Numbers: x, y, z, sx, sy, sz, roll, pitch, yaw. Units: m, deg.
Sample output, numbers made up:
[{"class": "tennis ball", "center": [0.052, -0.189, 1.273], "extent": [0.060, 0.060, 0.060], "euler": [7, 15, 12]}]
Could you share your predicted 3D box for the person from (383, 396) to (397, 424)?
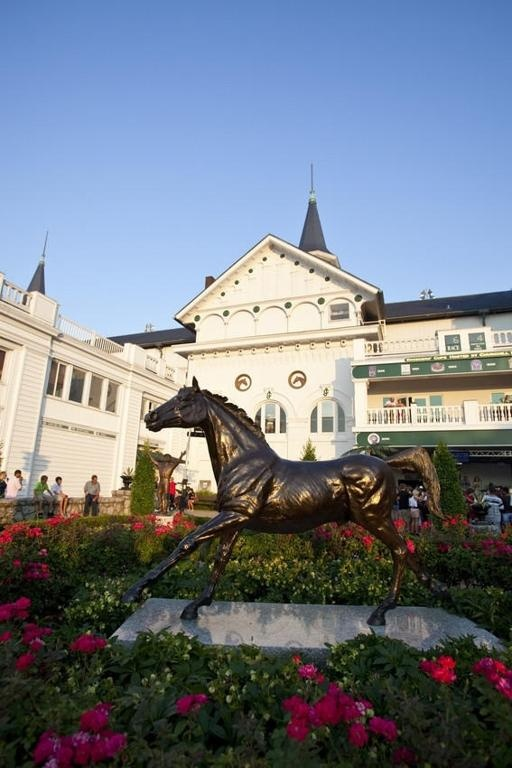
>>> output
[{"class": "person", "center": [5.811, 1.261, 23.030], "extent": [0.268, 1.118, 1.129], "euler": [5, 1, -18]}]
